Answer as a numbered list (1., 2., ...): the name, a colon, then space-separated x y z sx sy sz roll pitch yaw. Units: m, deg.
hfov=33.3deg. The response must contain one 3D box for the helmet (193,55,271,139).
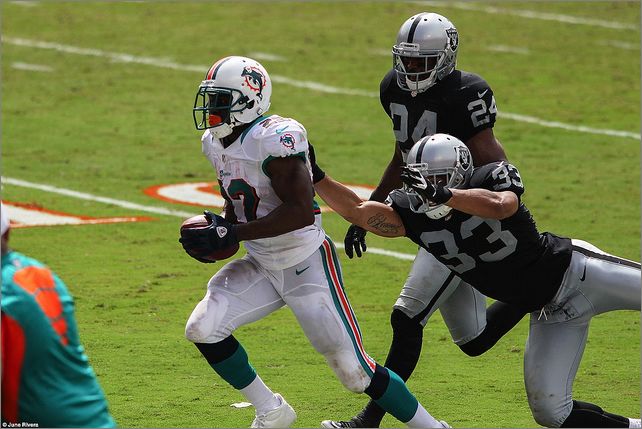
1. helmet: -0.576 -0.823 7.503 0.738 0.504 0.489 -1 5 -26

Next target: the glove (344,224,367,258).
1. glove: 0.275 0.202 8.076 0.172 0.237 0.085 -9 5 20

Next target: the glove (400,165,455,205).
1. glove: 0.664 -0.172 7.014 0.342 0.150 0.225 26 0 -5

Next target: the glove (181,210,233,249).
1. glove: -0.739 0.135 7.124 0.380 0.289 0.224 4 20 -1
